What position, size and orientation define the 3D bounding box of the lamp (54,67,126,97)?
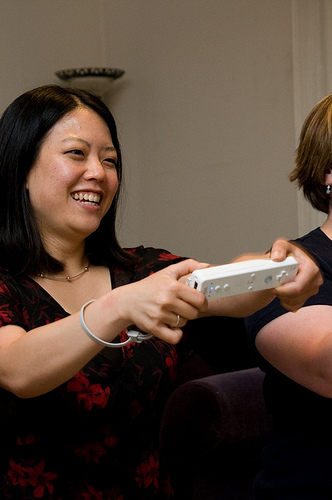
[{"bbox_3d":[-0.455,-1.013,2.880,0.394,0.166,0.265,-14,12,-25],"label":"lamp"}]
